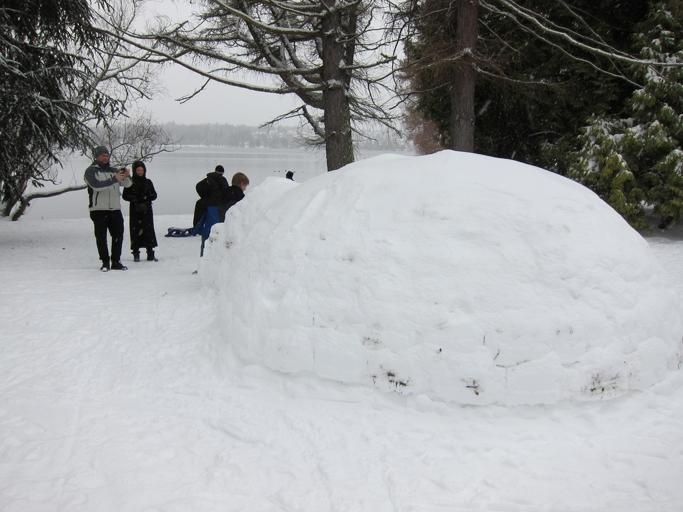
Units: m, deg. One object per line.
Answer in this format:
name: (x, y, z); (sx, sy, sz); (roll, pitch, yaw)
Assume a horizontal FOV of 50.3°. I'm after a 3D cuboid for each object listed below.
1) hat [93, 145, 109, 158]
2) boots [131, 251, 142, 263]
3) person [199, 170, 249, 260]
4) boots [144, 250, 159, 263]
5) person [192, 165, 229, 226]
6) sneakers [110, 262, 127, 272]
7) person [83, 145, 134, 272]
hat: (-4.133, -1.796, 12.542); (0.234, 0.219, 0.279); (-3, 14, -16)
boots: (-3.856, 0.021, 13.742); (0.091, 0.236, 0.233); (0, -20, -8)
person: (-2.167, -0.641, 13.386); (0.877, 1.679, 2.380); (-2, 14, -11)
boots: (-3.634, 0.023, 13.926); (0.138, 0.254, 0.321); (1, -8, -39)
person: (-2.588, -1.172, 14.476); (0.447, 1.404, 0.620); (6, 29, -28)
sneakers: (-3.928, 0.197, 12.833); (0.313, 0.155, 0.132); (1, 5, -6)
person: (-4.021, -0.817, 12.648); (0.745, 2.159, 0.786); (3, 12, 11)
